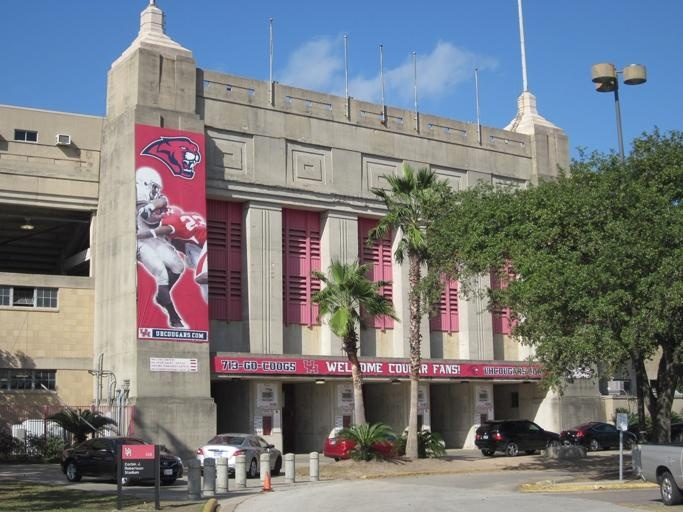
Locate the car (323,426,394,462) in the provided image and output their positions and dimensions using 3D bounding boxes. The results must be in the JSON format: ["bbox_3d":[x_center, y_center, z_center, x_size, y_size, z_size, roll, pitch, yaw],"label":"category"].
[{"bbox_3d":[0.797,9.225,65.301,2.652,2.267,2.853,-5,-12,19],"label":"car"}]

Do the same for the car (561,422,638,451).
[{"bbox_3d":[13.915,9.985,74.233,4.674,1.738,2.161,1,-4,-29],"label":"car"}]

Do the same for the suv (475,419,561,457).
[{"bbox_3d":[9.606,9.800,72.996,4.728,2.014,2.155,1,-3,-31],"label":"suv"}]

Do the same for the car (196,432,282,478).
[{"bbox_3d":[-4.648,9.442,63.928,2.527,2.087,6.124,1,-6,16],"label":"car"}]

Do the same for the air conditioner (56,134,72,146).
[{"bbox_3d":[-15.307,-6.508,74.471,0.847,0.744,0.507,2,-9,-31],"label":"air conditioner"}]
